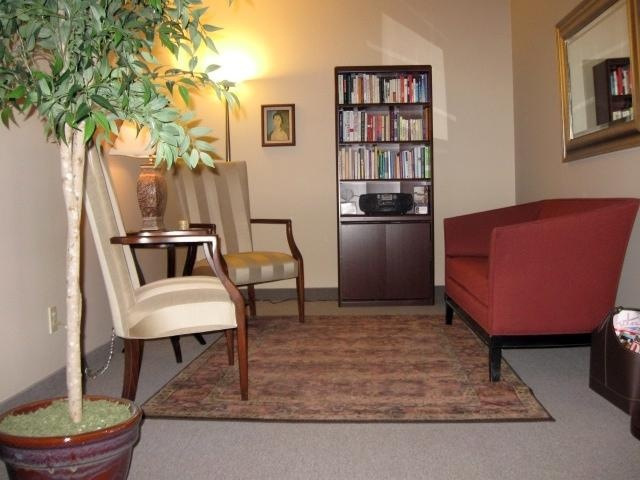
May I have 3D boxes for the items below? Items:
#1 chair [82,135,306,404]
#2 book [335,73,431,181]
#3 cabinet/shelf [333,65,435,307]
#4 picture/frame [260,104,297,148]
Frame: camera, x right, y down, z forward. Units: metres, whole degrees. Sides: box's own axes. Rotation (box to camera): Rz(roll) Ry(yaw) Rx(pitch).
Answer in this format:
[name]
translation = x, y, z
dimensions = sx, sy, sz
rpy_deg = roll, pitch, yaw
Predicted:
[chair]
translation = -0.464, 0.065, 2.764
dimensions = 1.072, 1.663, 0.935
rpy_deg = -2, 6, -7
[book]
translation = 0.529, -0.958, 4.126
dimensions = 0.865, 1.016, 0.292
rpy_deg = -1, 2, -1
[cabinet/shelf]
translation = 0.543, -0.465, 4.100
dimensions = 0.805, 1.950, 0.509
rpy_deg = -1, 10, 1
[picture/frame]
translation = -0.364, -1.027, 4.365
dimensions = 0.359, 0.425, 0.034
rpy_deg = -1, 2, 0
